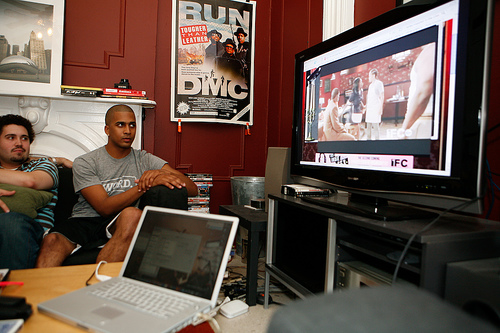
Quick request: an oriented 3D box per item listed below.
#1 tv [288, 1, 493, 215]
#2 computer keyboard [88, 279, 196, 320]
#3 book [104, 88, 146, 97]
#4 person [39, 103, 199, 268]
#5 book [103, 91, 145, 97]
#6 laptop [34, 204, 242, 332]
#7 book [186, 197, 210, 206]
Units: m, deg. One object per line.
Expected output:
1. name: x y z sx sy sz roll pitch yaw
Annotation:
1. tv: 0.786 -0.285 1.962 0.159 1.013 1.513 7 -2 -30
2. computer keyboard: -0.445 0.535 1.448 0.428 0.035 0.123 7 8 20
3. book: -1.237 -0.730 3.516 0.380 0.060 0.042 2 8 -12
4. person: -0.889 0.256 2.537 0.953 1.383 1.106 4 -1 -6
5. book: -1.242 -0.714 3.504 0.385 0.030 0.036 3 8 -7
6. laptop: -0.364 0.349 1.479 0.522 0.325 0.547 5 -1 35
7. book: -0.548 0.372 3.746 0.230 0.066 0.170 0 -1 -3
